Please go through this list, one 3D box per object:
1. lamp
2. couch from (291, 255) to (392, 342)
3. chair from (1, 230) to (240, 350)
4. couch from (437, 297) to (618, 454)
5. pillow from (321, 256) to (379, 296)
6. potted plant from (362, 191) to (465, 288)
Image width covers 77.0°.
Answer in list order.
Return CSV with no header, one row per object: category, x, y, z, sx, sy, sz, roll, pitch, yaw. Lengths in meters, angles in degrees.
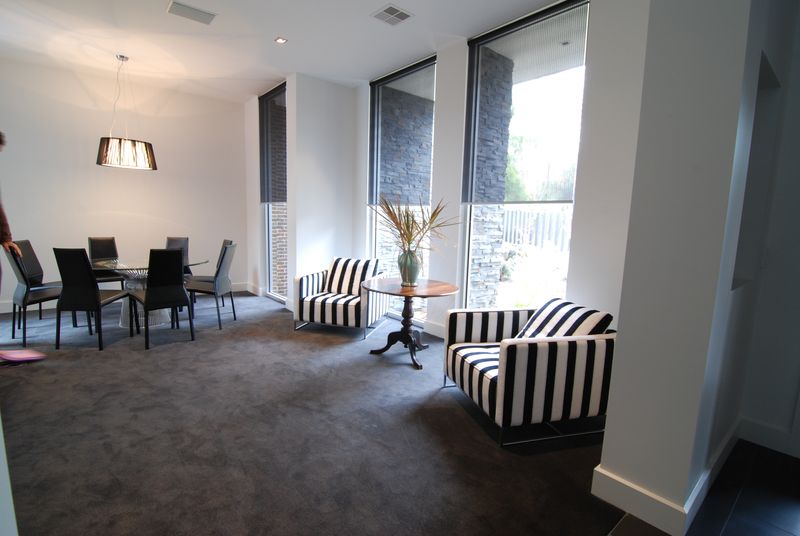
lamp,-3.621,-2.000,6.658,0.709,1.428,1.384,-5,14,-27
couch,-0.704,0.343,6.421,1.113,0.826,1.093,8,12,35
chair,-3.310,0.217,5.898,2.430,1.071,1.341,-1,12,-14
couch,1.072,0.738,4.499,1.218,1.125,1.299,-1,4,-17
pillow,-0.599,0.096,6.524,0.915,0.638,0.409,3,-2,19
potted plant,0.162,-0.240,5.487,0.899,0.906,0.623,3,-4,4
